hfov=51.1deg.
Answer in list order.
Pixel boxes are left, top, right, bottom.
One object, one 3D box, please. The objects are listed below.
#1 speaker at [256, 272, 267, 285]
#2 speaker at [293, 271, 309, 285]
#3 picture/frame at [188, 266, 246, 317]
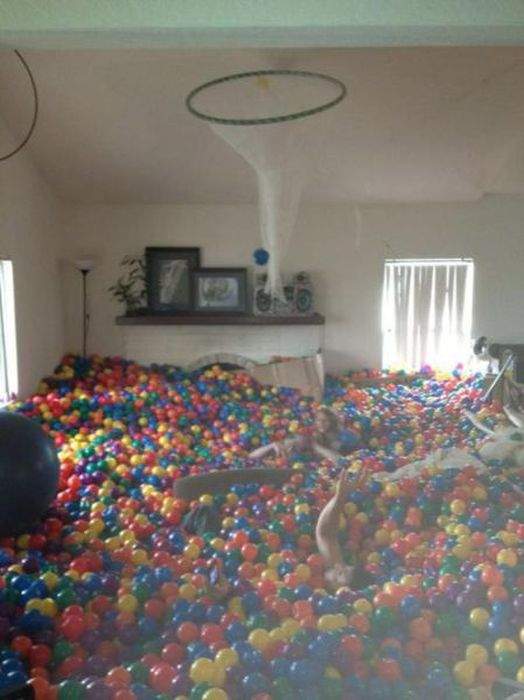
[{"bbox_3d":[0.002,-0.244,1.881,0.042,0.039,0.022,1,19,-5],"label":"speaker"},{"bbox_3d":[0.134,-0.237,1.827,0.067,0.042,0.028,-7,7,-34],"label":"speaker"},{"bbox_3d":[-0.146,-0.196,1.896,0.183,0.153,0.016,0,17,0],"label":"picture/frame"}]
